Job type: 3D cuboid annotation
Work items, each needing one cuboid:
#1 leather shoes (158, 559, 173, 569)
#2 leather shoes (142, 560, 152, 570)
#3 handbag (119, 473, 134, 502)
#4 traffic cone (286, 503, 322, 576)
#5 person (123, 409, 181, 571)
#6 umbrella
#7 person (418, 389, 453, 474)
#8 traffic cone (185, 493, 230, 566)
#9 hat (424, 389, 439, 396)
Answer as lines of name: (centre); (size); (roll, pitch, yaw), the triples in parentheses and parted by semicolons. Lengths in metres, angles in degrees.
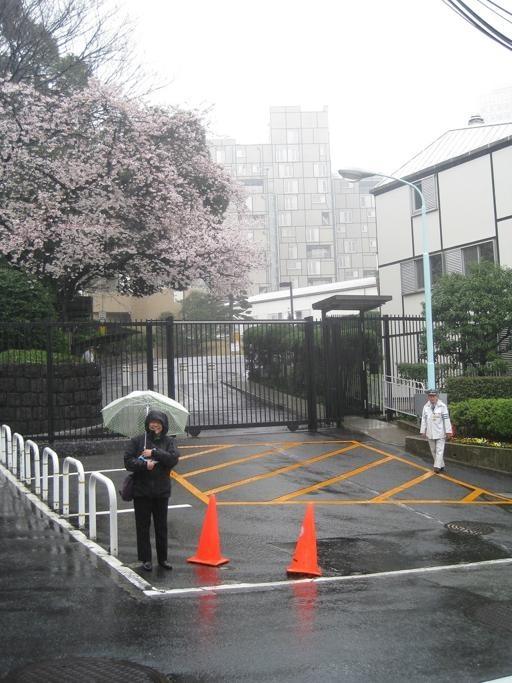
leather shoes: (-0.849, 2.095, 6.532); (0.053, 0.096, 0.157); (3, -11, -34)
leather shoes: (-0.983, 2.038, 6.314); (0.089, 0.121, 0.066); (0, 42, 6)
handbag: (-1.246, 1.416, 6.746); (0.104, 0.324, 0.552); (2, -2, -11)
traffic cone: (0.458, 1.843, 6.565); (0.326, 0.658, 0.515); (1, -2, 3)
person: (-0.993, 1.405, 6.562); (0.518, 1.465, 0.495); (2, -3, -22)
umbrella: (-1.275, 0.763, 7.591); (0.690, 0.310, 0.676); (7, -31, -3)
person: (3.372, 1.644, 13.085); (0.552, 1.427, 1.552); (0, -2, 14)
traffic cone: (-0.468, 1.832, 6.763); (0.400, 0.676, 0.305); (1, -2, 4)
hat: (3.671, 1.063, 14.629); (0.297, 0.125, 0.415); (-2, -6, 15)
